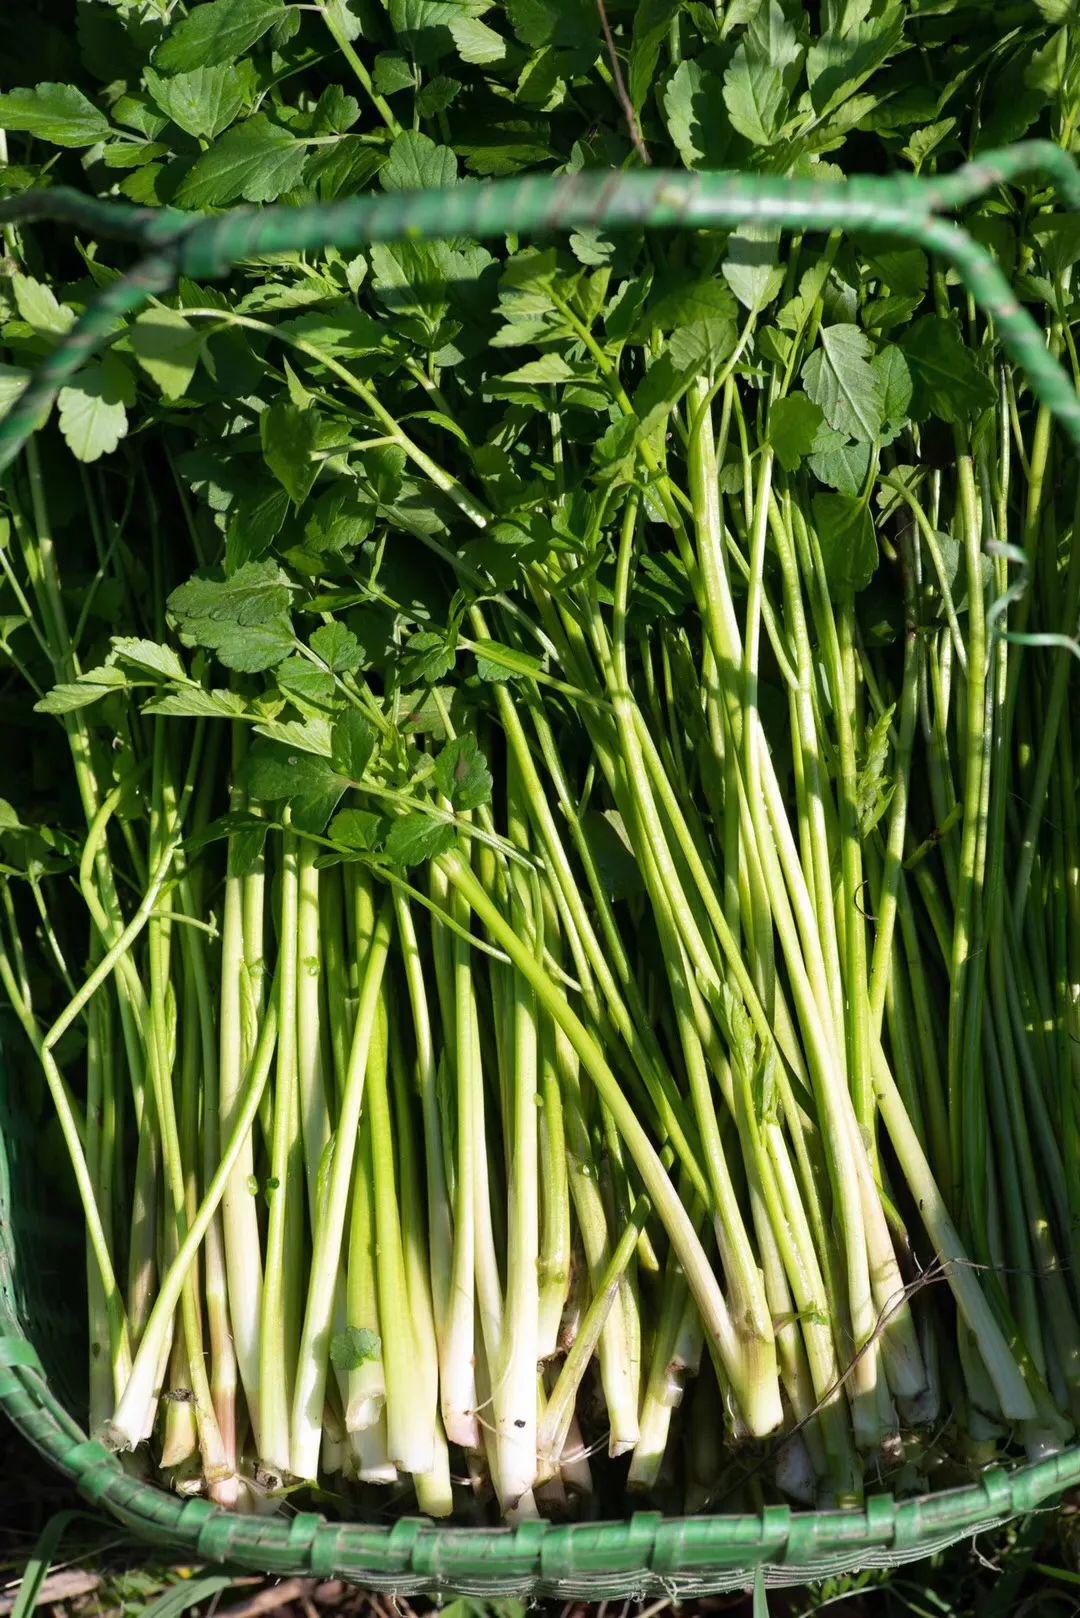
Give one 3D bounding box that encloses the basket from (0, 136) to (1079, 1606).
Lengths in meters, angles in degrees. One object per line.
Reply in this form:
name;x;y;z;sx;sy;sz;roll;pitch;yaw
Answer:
basket;0.025;0.022;0.714;0.575;0.810;0.195;-2;-3;-3
